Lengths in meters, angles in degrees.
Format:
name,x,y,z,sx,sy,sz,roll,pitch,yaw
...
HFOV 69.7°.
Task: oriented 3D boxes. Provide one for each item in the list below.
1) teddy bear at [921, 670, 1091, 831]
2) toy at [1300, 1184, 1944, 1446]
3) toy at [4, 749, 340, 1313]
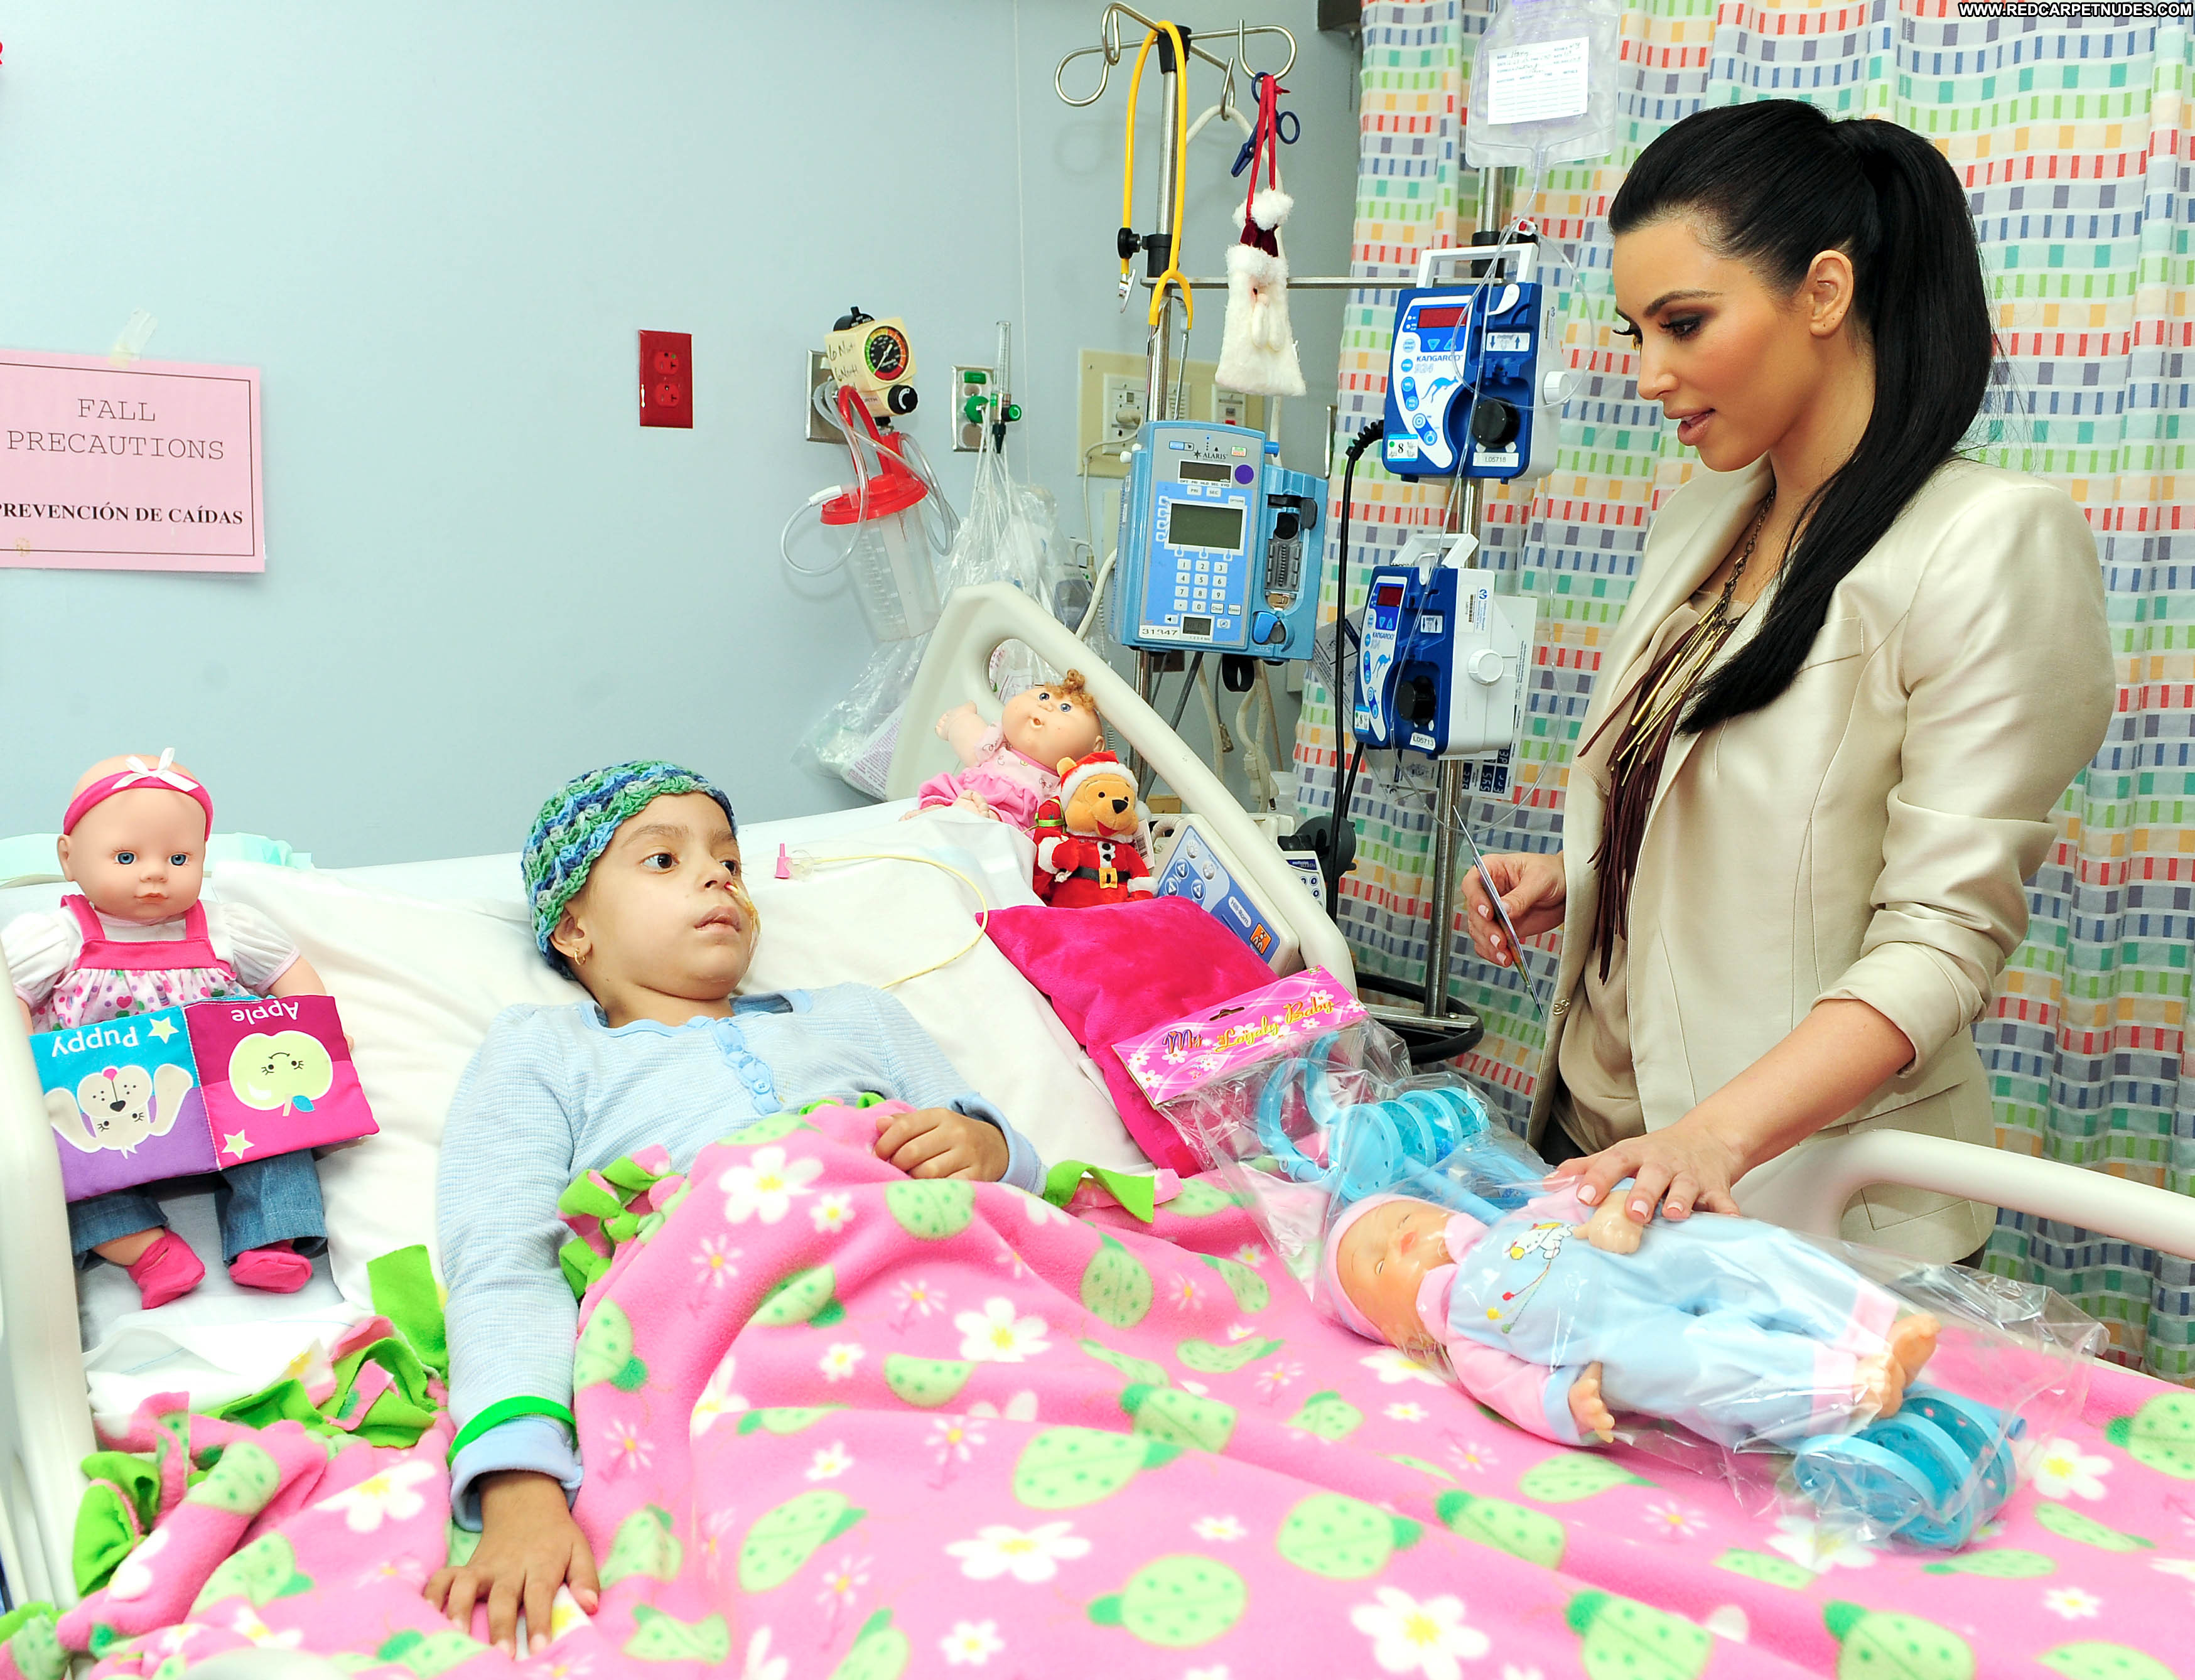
name,x,y,z,sx,sy,sz,roll,pitch,yaw
teddy bear,-0.130,-0.126,2.293,0.154,0.188,0.095,30,-12,14
toy,0.415,0.380,1.266,0.328,0.098,0.204,5,28,35
toy,-0.888,0.145,1.638,0.297,0.405,0.520,-4,36,-34
